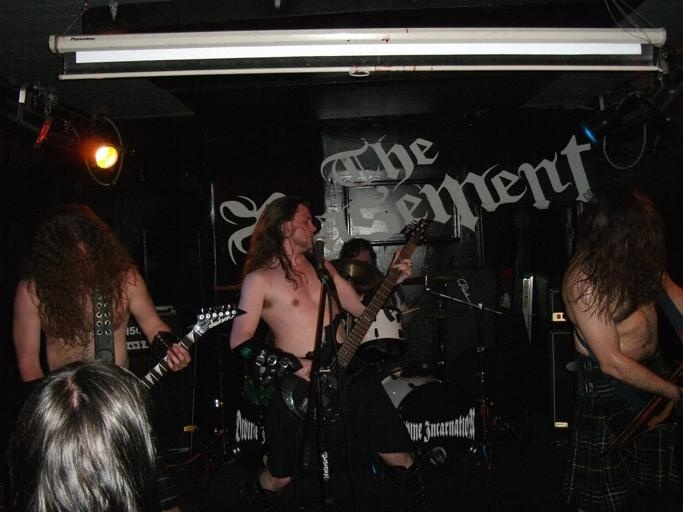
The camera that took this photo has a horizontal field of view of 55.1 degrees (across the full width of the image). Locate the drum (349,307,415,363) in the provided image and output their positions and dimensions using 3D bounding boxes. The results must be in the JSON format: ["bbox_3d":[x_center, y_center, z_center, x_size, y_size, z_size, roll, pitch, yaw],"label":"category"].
[{"bbox_3d":[0.340,0.655,5.277,0.390,0.446,0.463,2,35,16],"label":"drum"}]

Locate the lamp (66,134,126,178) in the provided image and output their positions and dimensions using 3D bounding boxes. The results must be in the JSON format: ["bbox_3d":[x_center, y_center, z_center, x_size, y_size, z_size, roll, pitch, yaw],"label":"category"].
[{"bbox_3d":[-2.315,-0.999,6.432,0.343,0.147,0.456,-35,3,-31],"label":"lamp"}]

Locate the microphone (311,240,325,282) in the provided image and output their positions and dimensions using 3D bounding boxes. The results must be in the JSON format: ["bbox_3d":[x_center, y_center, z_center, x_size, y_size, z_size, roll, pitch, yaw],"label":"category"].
[{"bbox_3d":[-0.158,0.036,4.737,0.060,0.309,0.277,-3,-9,-5],"label":"microphone"}]

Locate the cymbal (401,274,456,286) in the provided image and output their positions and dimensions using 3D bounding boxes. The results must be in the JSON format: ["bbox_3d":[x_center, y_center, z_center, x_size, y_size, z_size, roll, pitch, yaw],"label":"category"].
[{"bbox_3d":[0.942,0.262,7.132,0.297,0.043,0.325,-5,-8,-28],"label":"cymbal"}]

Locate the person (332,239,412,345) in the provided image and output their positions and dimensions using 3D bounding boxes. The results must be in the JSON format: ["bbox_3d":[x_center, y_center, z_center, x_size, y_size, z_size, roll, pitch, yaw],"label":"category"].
[{"bbox_3d":[0.275,0.321,6.903,0.365,0.871,1.132,-2,-15,45],"label":"person"}]

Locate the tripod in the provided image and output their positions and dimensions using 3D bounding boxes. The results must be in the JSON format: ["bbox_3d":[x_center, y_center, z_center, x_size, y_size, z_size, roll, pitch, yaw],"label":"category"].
[{"bbox_3d":[1.440,1.368,7.001,1.405,1.742,0.527,6,-1,-45],"label":"tripod"}]

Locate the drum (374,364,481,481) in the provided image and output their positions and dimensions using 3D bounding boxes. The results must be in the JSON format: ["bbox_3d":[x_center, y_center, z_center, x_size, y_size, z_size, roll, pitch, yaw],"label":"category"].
[{"bbox_3d":[0.847,1.458,6.346,0.883,0.969,0.963,4,7,-29],"label":"drum"}]

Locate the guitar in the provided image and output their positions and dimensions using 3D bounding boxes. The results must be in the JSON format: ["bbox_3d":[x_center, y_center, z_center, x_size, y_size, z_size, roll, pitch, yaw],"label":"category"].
[{"bbox_3d":[0.145,0.316,5.129,0.662,2.153,0.225,33,-33,-18],"label":"guitar"}]

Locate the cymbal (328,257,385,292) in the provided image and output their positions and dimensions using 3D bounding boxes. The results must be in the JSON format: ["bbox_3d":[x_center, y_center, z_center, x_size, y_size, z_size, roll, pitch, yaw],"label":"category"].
[{"bbox_3d":[0.092,0.149,5.819,0.451,0.113,0.463,18,17,16],"label":"cymbal"}]
